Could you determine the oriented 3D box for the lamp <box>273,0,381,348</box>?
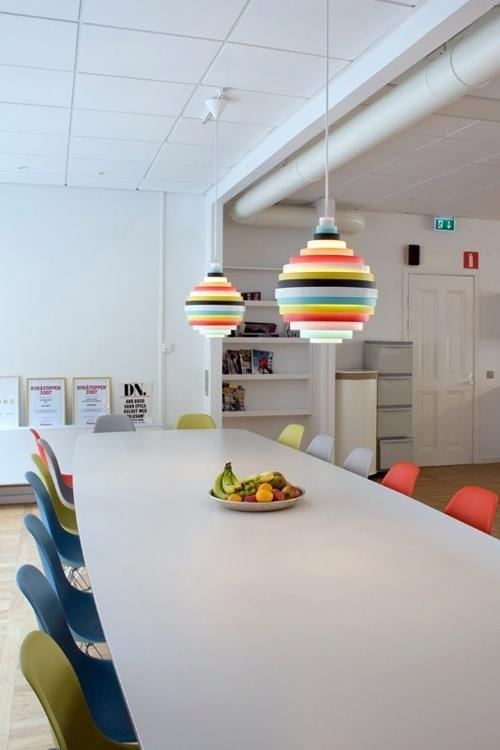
[{"bbox_3d":[0.361,-0.901,2.417,0.388,1.580,1.393,1,0,10],"label":"lamp"}]

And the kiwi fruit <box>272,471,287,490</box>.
[{"bbox_3d":[0.123,0.438,2.156,0.047,0.055,0.066,-1,-3,-4],"label":"kiwi fruit"}]

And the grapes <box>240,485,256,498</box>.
[{"bbox_3d":[-0.008,0.468,2.111,0.041,0.029,0.056,-4,23,8],"label":"grapes"}]

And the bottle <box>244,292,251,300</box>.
[{"bbox_3d":[-0.030,-0.906,6.091,0.089,0.100,0.092,2,-1,-29],"label":"bottle"}]

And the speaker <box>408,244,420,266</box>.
[{"bbox_3d":[2.130,-1.543,6.819,0.191,0.267,0.064,1,-1,-25],"label":"speaker"}]

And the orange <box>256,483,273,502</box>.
[{"bbox_3d":[0.057,0.458,2.043,0.058,0.063,0.059,3,-15,6],"label":"orange"}]

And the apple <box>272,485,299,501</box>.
[{"bbox_3d":[0.142,0.475,2.101,0.061,0.032,0.062,-10,7,-28],"label":"apple"}]

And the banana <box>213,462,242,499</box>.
[{"bbox_3d":[-0.098,0.459,2.210,0.084,0.064,0.148,9,42,-7],"label":"banana"}]

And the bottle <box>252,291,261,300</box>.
[{"bbox_3d":[0.083,-0.909,6.112,0.080,0.158,0.157,-1,5,-5],"label":"bottle"}]

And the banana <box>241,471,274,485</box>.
[{"bbox_3d":[0.033,0.424,2.194,0.100,0.048,0.060,-3,-8,2],"label":"banana"}]
